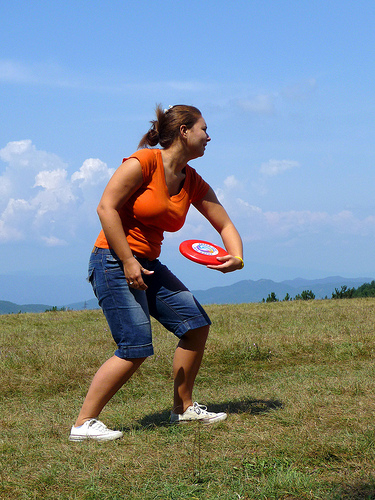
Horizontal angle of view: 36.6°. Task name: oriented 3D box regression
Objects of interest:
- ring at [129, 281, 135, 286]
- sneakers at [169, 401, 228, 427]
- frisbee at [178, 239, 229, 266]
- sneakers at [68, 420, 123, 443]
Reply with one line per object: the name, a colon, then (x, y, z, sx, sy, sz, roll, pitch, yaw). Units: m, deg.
ring: (-0.364, 0.225, 3.727, 0.029, 0.027, 0.009, -3, 9, 9)
sneakers: (0.077, 1.200, 4.136, 0.483, 0.173, 0.155, -1, -8, 0)
frisbee: (0.099, 0.020, 4.068, 0.239, 0.052, 0.232, 21, 16, 22)
sneakers: (-0.602, 1.193, 3.744, 0.370, 0.135, 0.129, -1, -3, -2)
